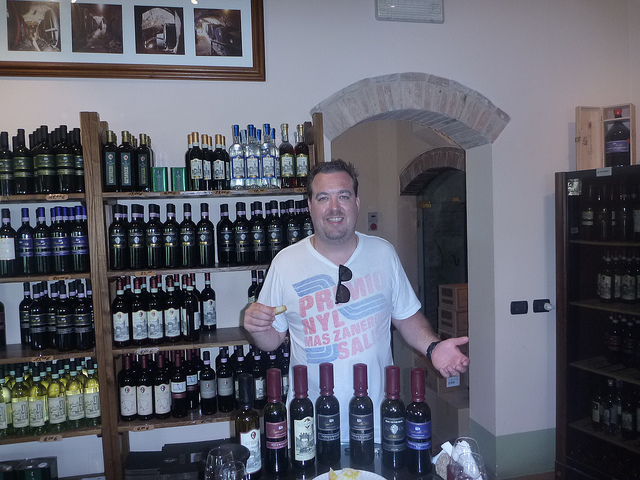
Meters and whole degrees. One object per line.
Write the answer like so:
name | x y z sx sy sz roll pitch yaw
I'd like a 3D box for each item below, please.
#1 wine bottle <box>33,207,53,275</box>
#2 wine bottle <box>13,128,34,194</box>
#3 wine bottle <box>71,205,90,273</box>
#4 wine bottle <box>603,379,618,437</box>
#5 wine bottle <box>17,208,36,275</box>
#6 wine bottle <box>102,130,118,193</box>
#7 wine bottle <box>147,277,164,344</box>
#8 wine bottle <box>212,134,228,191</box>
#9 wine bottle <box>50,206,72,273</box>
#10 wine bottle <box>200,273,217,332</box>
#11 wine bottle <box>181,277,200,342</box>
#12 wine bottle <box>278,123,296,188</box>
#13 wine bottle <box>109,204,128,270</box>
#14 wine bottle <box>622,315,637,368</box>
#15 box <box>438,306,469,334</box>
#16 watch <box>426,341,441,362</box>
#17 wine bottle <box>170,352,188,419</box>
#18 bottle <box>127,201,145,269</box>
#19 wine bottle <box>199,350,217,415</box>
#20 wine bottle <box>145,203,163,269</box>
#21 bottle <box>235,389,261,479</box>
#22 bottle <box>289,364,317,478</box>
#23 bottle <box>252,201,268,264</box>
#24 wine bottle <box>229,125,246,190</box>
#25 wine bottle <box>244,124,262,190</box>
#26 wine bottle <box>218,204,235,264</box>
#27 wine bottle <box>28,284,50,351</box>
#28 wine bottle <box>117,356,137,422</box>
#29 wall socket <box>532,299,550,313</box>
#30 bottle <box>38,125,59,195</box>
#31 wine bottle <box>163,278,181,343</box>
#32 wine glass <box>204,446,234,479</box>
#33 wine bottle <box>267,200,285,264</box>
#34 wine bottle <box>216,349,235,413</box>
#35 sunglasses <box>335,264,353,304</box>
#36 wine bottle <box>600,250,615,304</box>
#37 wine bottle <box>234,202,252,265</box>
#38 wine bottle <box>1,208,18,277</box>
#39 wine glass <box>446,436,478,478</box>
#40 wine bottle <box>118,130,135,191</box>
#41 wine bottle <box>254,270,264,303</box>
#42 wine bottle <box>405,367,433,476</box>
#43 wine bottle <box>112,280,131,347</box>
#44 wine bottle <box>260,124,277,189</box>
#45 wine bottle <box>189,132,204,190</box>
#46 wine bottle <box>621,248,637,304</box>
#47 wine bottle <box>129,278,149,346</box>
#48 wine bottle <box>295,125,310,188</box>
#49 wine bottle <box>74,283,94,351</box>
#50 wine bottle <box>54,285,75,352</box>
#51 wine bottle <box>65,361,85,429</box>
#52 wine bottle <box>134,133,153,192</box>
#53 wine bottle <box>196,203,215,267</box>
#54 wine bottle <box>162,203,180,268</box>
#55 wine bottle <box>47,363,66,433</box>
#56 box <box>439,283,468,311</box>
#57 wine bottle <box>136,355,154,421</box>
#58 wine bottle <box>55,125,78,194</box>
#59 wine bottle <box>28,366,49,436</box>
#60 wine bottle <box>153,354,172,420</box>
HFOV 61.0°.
wine bottle | -1.829 0.004 3.574 0.116 0.481 0.077 -3 1 -29
wine bottle | -1.945 -0.511 3.555 0.119 0.473 0.074 -3 1 -27
wine bottle | -1.582 0.036 3.572 0.103 0.446 0.055 -3 1 -20
wine bottle | 2.170 1.245 4.072 0.103 0.291 0.073 -3 1 13
wine bottle | -1.952 0.009 3.590 0.102 0.481 0.141 -3 1 -33
wine bottle | -1.387 -0.516 3.569 0.093 0.425 0.041 -3 1 -21
wine bottle | -1.111 0.468 3.644 0.107 0.449 0.070 -3 1 -19
wine bottle | -0.682 -0.522 3.671 0.097 0.364 0.079 -3 1 -11
wine bottle | -1.728 -0.009 3.599 0.146 0.448 0.153 3 11 -1
wine bottle | -0.790 0.433 3.829 0.099 0.406 0.120 -3 1 -36
wine bottle | -0.889 0.464 3.698 0.110 0.434 0.091 -3 1 -16
wine bottle | -0.229 -0.575 3.724 0.108 0.406 0.122 -3 1 11
wine bottle | -1.345 0.027 3.607 0.127 0.419 0.063 -3 1 -17
wine bottle | 2.319 0.750 4.077 0.103 0.267 0.064 -2 1 30
box | 1.335 0.811 5.537 0.220 0.180 0.242 0 1 -13
watch | 0.564 0.563 2.761 0.091 0.096 0.055 9 1 -26
wine bottle | -0.953 0.960 3.648 0.115 0.440 0.113 -3 1 0
bottle | -1.215 -0.024 3.642 0.100 0.425 0.105 1 3 0
wine bottle | -0.766 0.952 3.685 0.116 0.421 0.113 -3 1 0
wine bottle | -1.114 -0.024 3.624 0.112 0.439 0.061 -3 1 -15
bottle | -0.320 0.851 2.393 0.101 0.382 0.077 -3 1 -9
bottle | -0.086 0.793 2.474 0.111 0.459 0.168 -3 1 -5
bottle | -0.422 -0.049 3.739 0.105 0.430 0.119 -7 -10 17
wine bottle | -0.571 -0.553 3.659 0.133 0.415 0.095 -3 1 15
wine bottle | -0.456 -0.494 3.652 0.116 0.375 0.063 -3 1 -7
wine bottle | -0.642 -0.042 3.708 0.092 0.390 0.094 -3 1 0
wine bottle | -1.875 0.546 3.620 0.107 0.459 0.057 -3 1 -31
wine bottle | -1.297 0.981 3.638 0.139 0.454 0.100 -3 1 -10
wall socket | 1.762 0.523 4.378 0.126 0.098 0.032 0 -6 9
bottle | -1.814 -0.526 3.584 0.108 0.461 0.112 -4 -2 0
wine bottle | -1.004 0.466 3.660 0.111 0.435 0.059 -3 1 -19
wine glass | -0.428 0.908 2.241 0.105 0.164 0.109 7 -9 -29
wine bottle | -0.308 -0.061 3.707 0.120 0.393 0.076 -3 1 -11
wine bottle | -0.648 0.938 3.684 0.115 0.415 0.102 -3 1 -15
sunglasses | 0.123 0.236 2.912 0.100 0.185 0.117 -3 1 1
wine bottle | 2.178 0.274 4.132 0.104 0.279 0.092 -2 1 27
wine bottle | -0.533 -0.045 3.707 0.113 0.401 0.069 -3 1 -16
wine bottle | -2.033 0.015 3.533 0.098 0.501 0.089 -3 1 0
wine glass | 0.595 0.916 2.288 0.125 0.137 0.124 -3 1 -10
wine bottle | -1.284 -0.520 3.589 0.103 0.412 0.047 -3 1 -24
wine bottle | -0.421 0.309 3.732 0.075 0.207 0.249 -3 1 -7
wine bottle | 0.437 0.834 2.469 0.129 0.525 0.095 -1 -1 -16
wine bottle | -1.323 0.535 3.607 0.111 0.429 0.056 -3 1 -23
wine bottle | -0.353 -0.560 3.666 0.109 0.407 0.090 -3 1 -7
wine bottle | -0.835 -0.526 3.645 0.106 0.374 0.060 -3 1 -6
wine bottle | 2.289 0.263 4.043 0.098 0.280 0.085 -3 1 16
wine bottle | -1.216 0.471 3.632 0.119 0.462 0.079 -3 1 -23
wine bottle | -0.114 -0.577 3.734 0.086 0.393 0.156 -2 1 40
wine bottle | -1.575 0.499 3.598 0.115 0.476 0.047 -3 1 -27
wine bottle | -1.698 0.507 3.593 0.120 0.475 0.069 -3 1 -29
wine bottle | -1.635 1.014 3.614 0.112 0.478 0.146 -3 1 -28
wine bottle | -1.169 -0.509 3.609 0.142 0.398 0.115 -3 1 -35
wine bottle | -0.773 -0.035 3.720 0.110 0.420 0.200 -3 1 13
wine bottle | -1.000 -0.028 3.646 0.114 0.429 0.107 -3 1 0
wine bottle | -1.764 1.022 3.618 0.112 0.489 0.104 -3 1 0
box | 1.364 0.581 5.575 0.189 0.210 0.315 -3 1 -15
wine bottle | -1.175 1.029 3.640 0.108 0.416 0.068 -3 1 9
wine bottle | -1.693 -0.529 3.600 0.105 0.445 0.113 -3 0 0
wine bottle | -1.861 1.042 3.576 0.115 0.498 0.191 -3 1 -29
wine bottle | -1.067 0.969 3.648 0.116 0.440 0.101 -3 1 -19
